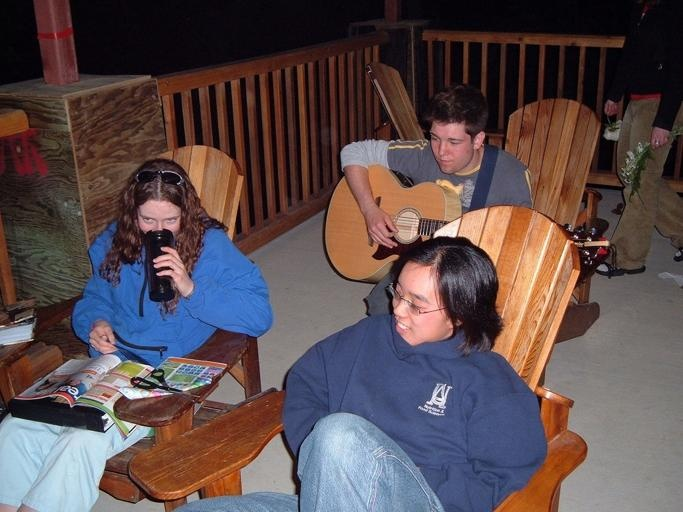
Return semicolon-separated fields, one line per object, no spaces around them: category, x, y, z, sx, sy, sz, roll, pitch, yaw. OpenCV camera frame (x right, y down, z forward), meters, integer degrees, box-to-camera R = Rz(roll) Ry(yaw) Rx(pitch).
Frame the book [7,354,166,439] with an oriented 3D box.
book;-0.876;0.379;1.777;0.442;0.086;0.272;8;33;13

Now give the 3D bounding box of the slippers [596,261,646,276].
slippers;1.911;0.082;3.660;0.266;0.068;0.084;0;27;12
